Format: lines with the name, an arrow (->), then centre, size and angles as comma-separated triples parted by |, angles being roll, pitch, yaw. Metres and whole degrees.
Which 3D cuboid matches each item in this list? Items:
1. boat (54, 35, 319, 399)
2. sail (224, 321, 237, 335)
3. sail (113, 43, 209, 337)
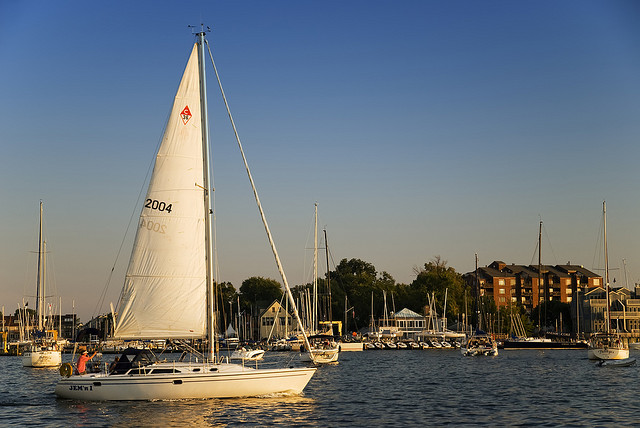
boat -> -10.327, 2.071, 66.118 | 14.146, 22.769, 6.919 | 1, -13, -12
sail -> -17.245, 22.146, 172.456 | 1.754, 1.541, 2.052 | 3, -10, -11
sail -> -11.108, -1.342, 65.024 | 5.555, 20.032, 4.028 | 0, -13, -8
